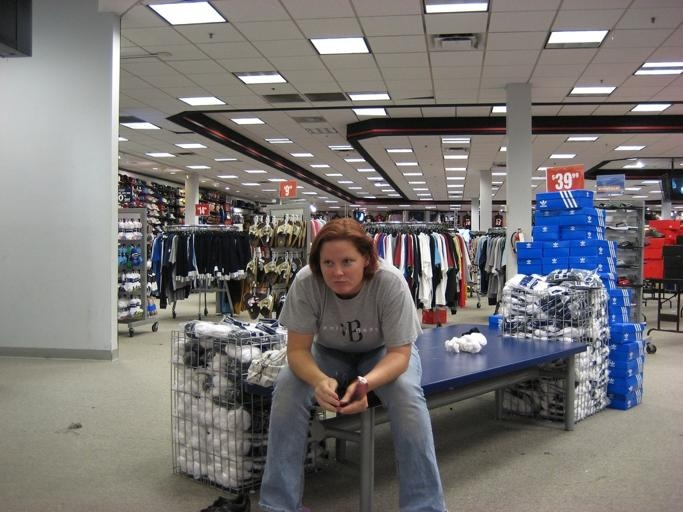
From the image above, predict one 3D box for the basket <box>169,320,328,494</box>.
[{"bbox_3d":[-0.400,0.699,3.308,0.837,1.246,1.218,1,0,32],"label":"basket"}]
